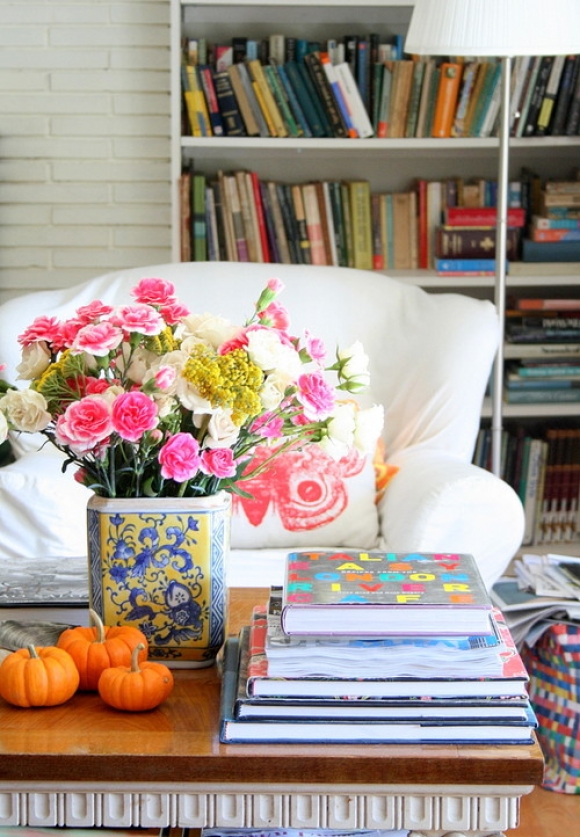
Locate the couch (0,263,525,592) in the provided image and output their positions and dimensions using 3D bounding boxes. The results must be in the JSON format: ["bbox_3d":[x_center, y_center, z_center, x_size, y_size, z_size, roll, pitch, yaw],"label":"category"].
[{"bbox_3d":[-0.073,-0.004,2.018,1.128,0.989,0.958,1,-3,-2],"label":"couch"}]

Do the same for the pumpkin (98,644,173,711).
[{"bbox_3d":[-0.151,0.248,0.730,0.074,0.057,0.066,1,-8,-14],"label":"pumpkin"}]

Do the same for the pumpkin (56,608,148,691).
[{"bbox_3d":[-0.190,0.234,0.773,0.085,0.064,0.079,3,-3,8],"label":"pumpkin"}]

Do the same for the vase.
[{"bbox_3d":[-0.122,0.178,0.862,0.186,0.167,0.181,4,-8,-43],"label":"vase"}]

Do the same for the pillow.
[{"bbox_3d":[0.029,0.124,1.504,0.378,0.294,0.102,-3,-5,1],"label":"pillow"}]
